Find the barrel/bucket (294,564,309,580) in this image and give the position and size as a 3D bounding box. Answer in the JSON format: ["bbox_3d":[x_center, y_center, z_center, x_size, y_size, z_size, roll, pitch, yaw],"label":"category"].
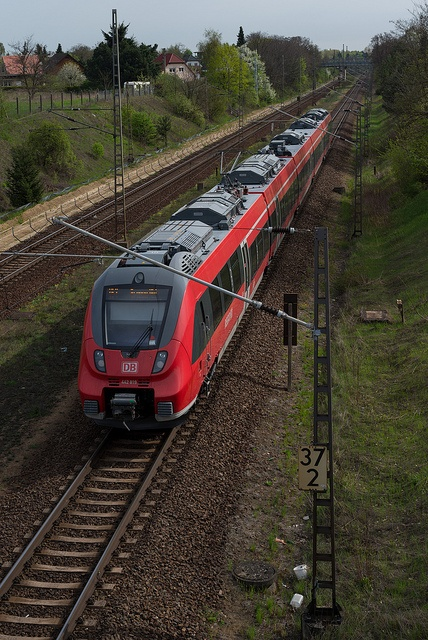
[{"bbox_3d":[1.280,3.724,7.720,0.149,0.111,0.152,-12,9,2],"label":"barrel/bucket"}]
